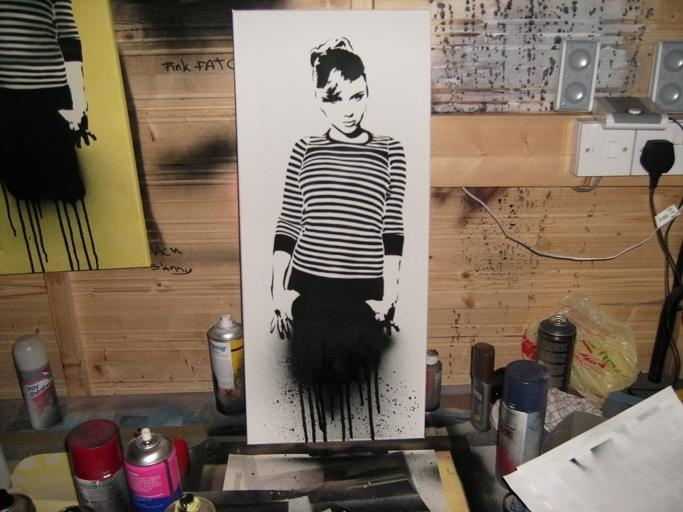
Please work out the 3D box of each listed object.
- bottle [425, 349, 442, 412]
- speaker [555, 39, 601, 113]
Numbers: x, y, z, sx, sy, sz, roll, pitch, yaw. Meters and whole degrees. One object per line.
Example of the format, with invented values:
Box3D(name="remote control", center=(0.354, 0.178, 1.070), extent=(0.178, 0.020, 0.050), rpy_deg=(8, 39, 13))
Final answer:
Box3D(name="bottle", center=(0.281, 0.362, 1.669), extent=(0.044, 0.189, 0.165), rpy_deg=(1, 20, 11))
Box3D(name="speaker", center=(0.659, -0.502, 1.544), extent=(0.107, 0.197, 0.047), rpy_deg=(1, 20, 9))
